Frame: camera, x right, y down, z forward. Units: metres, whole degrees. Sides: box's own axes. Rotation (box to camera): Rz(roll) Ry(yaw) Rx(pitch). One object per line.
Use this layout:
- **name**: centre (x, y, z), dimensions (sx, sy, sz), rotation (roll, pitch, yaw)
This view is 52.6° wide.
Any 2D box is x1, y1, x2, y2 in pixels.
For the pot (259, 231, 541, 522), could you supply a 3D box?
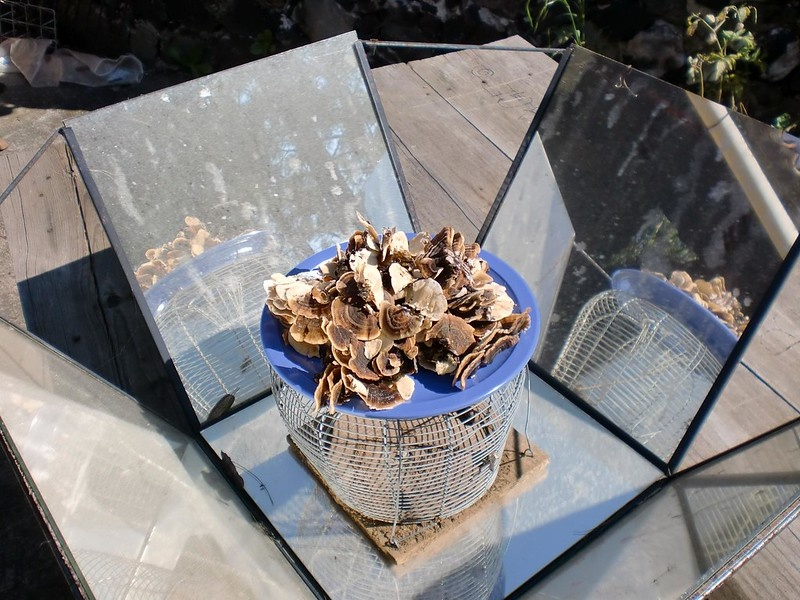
- **pot**: centre (0.008, 0.352, 2.296), dimensions (0.680, 0.554, 0.739), rotation (-1, 53, 1)
